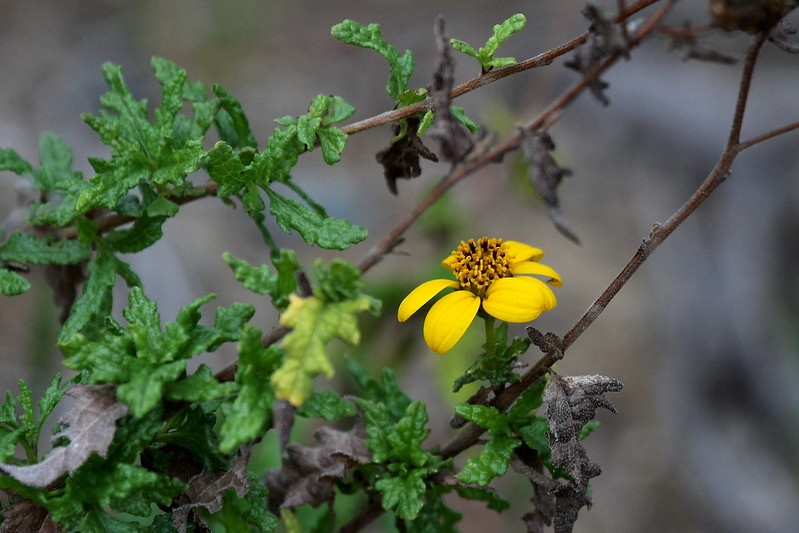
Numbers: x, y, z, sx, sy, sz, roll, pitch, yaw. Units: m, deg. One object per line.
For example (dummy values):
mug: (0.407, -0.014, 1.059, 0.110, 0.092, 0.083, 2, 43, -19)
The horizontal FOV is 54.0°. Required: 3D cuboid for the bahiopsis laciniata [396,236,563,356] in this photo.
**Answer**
bahiopsis laciniata: (0.378, 0.043, 3.174, 0.489, 0.546, 0.259, 8, -58, 50)
